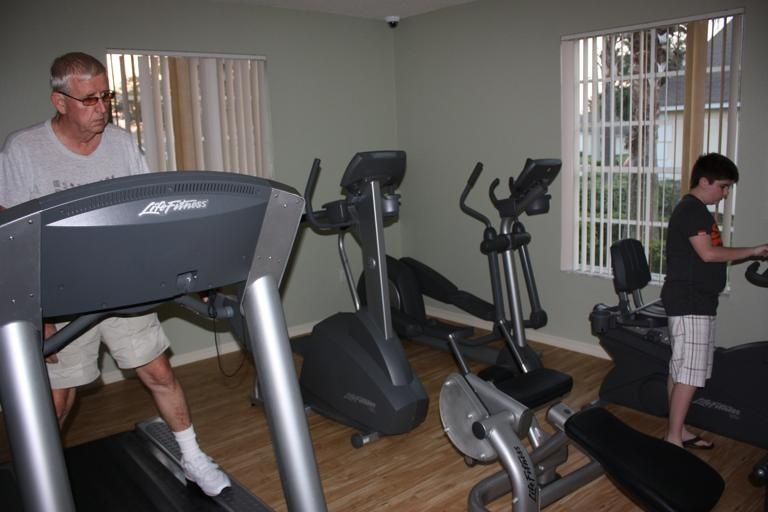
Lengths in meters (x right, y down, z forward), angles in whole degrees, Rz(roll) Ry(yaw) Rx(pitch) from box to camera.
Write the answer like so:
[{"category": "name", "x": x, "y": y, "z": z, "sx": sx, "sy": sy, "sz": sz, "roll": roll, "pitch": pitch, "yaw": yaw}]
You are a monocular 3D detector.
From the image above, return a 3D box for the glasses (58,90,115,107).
[{"category": "glasses", "x": -1.289, "y": -0.684, "z": 2.498, "sx": 0.222, "sy": 0.076, "sz": 0.102, "roll": -11, "pitch": 16, "yaw": -26}]

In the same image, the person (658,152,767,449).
[{"category": "person", "x": 1.736, "y": 0.284, "z": 3.233, "sx": 0.556, "sy": 1.664, "sz": 0.416, "roll": -15, "pitch": 19, "yaw": -35}]

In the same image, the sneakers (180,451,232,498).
[{"category": "sneakers", "x": -0.889, "y": 1.055, "z": 2.876, "sx": 0.313, "sy": 0.116, "sz": 0.132, "roll": 17, "pitch": 20, "yaw": 28}]

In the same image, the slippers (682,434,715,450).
[{"category": "slippers", "x": 1.803, "y": 1.081, "z": 3.354, "sx": 0.201, "sy": 0.060, "sz": 0.075, "roll": -1, "pitch": 5, "yaw": 13}]
